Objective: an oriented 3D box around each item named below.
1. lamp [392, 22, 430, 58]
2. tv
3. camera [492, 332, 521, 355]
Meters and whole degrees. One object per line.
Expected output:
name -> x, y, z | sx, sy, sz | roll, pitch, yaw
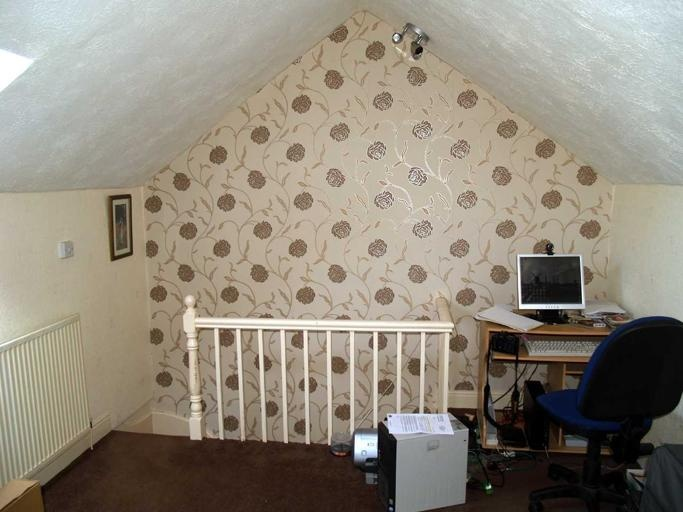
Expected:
lamp -> 0.481, -1.457, 3.602 | 0.209, 0.267, 0.690 | 2, 14, 9
tv -> 1.496, 0.241, 3.782 | 0.444, 0.504, 0.159 | 0, -8, 6
camera -> 1.098, 0.589, 3.535 | 0.216, 0.169, 0.121 | 1, 2, 41
